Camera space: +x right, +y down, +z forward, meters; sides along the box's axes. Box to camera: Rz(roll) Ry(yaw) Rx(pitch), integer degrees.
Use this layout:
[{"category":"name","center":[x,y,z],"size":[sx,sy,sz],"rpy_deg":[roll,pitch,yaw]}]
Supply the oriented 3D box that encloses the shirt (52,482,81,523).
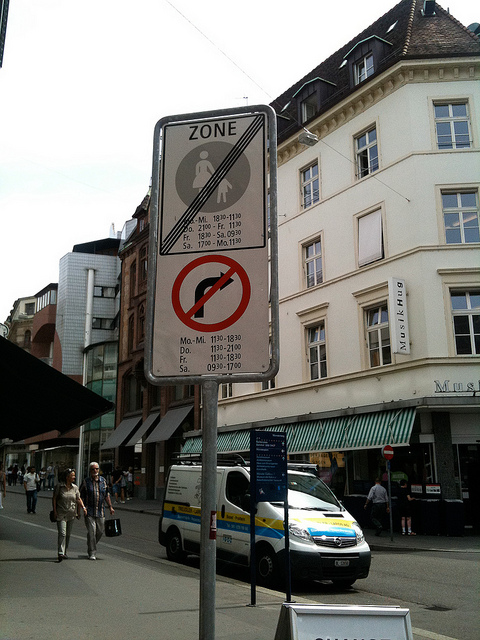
[{"category":"shirt","center":[-3.412,3.569,11.855],"size":[0.499,0.726,0.715],"rpy_deg":[3,-12,-16]}]

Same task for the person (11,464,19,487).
[{"category":"person","center":[-19.533,13.387,51.888],"size":[0.470,1.718,4.082],"rpy_deg":[4,-14,-20]}]

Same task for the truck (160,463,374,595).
[{"category":"truck","center":[0.245,3.848,11.561],"size":[1.920,2.355,4.521],"rpy_deg":[20,-23,-35]}]

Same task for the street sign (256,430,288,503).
[{"category":"street sign","center":[0.454,2.066,8.570],"size":[0.585,0.992,0.343],"rpy_deg":[4,-12,-23]}]

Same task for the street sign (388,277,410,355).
[{"category":"street sign","center":[5.435,-0.217,20.190],"size":[0.390,2.075,0.200],"rpy_deg":[-2,2,24]}]

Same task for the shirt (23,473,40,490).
[{"category":"shirt","center":[-8.585,6.683,24.999],"size":[0.665,0.877,0.471],"rpy_deg":[15,-33,-43]}]

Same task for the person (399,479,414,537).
[{"category":"person","center":[5.239,5.935,18.835],"size":[0.463,1.414,1.126],"rpy_deg":[-3,-12,16]}]

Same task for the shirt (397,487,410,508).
[{"category":"shirt","center":[5.168,5.611,19.011],"size":[0.362,0.681,0.489],"rpy_deg":[12,-12,-31]}]

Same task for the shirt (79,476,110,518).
[{"category":"shirt","center":[-2.903,3.489,11.907],"size":[0.541,0.796,0.419],"rpy_deg":[3,-11,-17]}]

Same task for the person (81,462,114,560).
[{"category":"person","center":[-2.923,3.813,12.167],"size":[0.604,1.819,1.414],"rpy_deg":[2,-12,-12]}]
